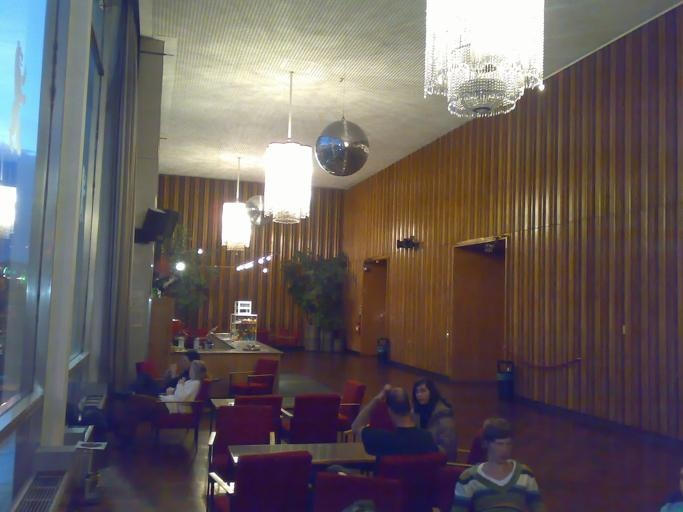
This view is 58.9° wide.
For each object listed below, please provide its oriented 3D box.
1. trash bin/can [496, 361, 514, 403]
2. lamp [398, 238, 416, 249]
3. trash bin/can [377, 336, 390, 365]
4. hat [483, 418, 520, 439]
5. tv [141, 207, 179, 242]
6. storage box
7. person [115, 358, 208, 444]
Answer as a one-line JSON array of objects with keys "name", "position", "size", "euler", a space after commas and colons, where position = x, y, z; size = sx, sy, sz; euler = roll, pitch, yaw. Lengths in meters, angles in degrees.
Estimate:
[{"name": "trash bin/can", "position": [3.113, 2.376, 11.519], "size": [0.320, 0.709, 0.345], "euler": [0, -2, 16]}, {"name": "lamp", "position": [1.731, -0.343, 16.356], "size": [0.444, 0.367, 1.040], "euler": [1, -2, -9]}, {"name": "trash bin/can", "position": [1.169, 2.687, 17.068], "size": [0.462, 0.878, 0.524], "euler": [1, -2, -16]}, {"name": "hat", "position": [1.171, 1.311, 4.559], "size": [0.149, 0.129, 0.162], "euler": [-1, -3, 0]}, {"name": "tv", "position": [-3.033, -0.441, 10.294], "size": [0.645, 0.706, 0.357], "euler": [-4, 25, -30]}, {"name": "storage box", "position": [0.006, -1.825, 9.911], "size": [0.851, 0.952, 0.399], "euler": [1, -2, -3]}, {"name": "person", "position": [-2.216, 2.032, 8.174], "size": [0.640, 1.205, 0.504], "euler": [4, -16, 1]}]
